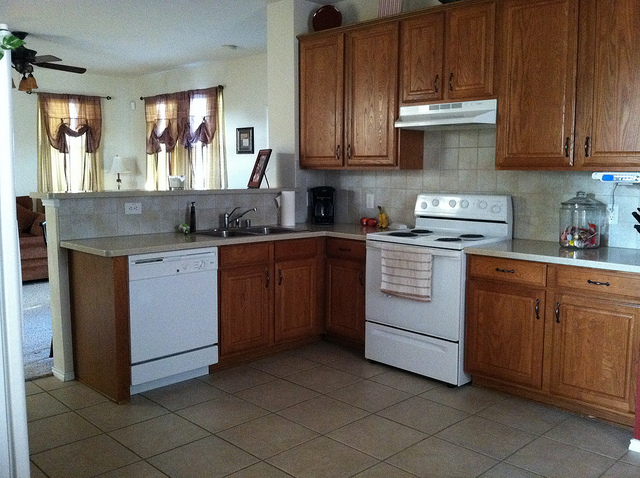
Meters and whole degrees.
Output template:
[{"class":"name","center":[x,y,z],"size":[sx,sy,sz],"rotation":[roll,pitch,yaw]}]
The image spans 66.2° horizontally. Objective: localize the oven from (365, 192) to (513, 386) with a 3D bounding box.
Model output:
[{"class":"oven","center":[0.897,0.335,3.937],"size":[0.914,1.365,0.748],"rotation":[8,12,40]}]

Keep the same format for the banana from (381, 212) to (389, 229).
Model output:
[{"class":"banana","center":[0.600,-0.164,4.522],"size":[0.048,0.140,0.055],"rotation":[2,14,26]}]

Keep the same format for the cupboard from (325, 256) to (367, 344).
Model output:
[{"class":"cupboard","center":[0.219,0.519,4.291],"size":[0.340,0.668,0.395],"rotation":[5,8,44]}]

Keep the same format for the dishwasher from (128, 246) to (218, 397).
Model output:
[{"class":"dishwasher","center":[-1.153,0.579,3.637],"size":[0.605,0.978,0.541],"rotation":[-5,12,-40]}]

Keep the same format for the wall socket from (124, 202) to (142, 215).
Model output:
[{"class":"wall socket","center":[-1.461,-0.235,3.813],"size":[0.092,0.064,0.013],"rotation":[-8,15,-40]}]

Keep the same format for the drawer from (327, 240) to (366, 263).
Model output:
[{"class":"drawer","center":[0.229,0.106,4.249],"size":[0.246,0.109,0.197],"rotation":[5,5,42]}]

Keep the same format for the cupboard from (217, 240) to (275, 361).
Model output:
[{"class":"cupboard","center":[-0.585,0.481,3.897],"size":[0.432,0.896,0.408],"rotation":[-6,12,-40]}]

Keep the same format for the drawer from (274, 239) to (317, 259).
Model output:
[{"class":"drawer","center":[-0.217,0.091,4.178],"size":[0.240,0.098,0.166],"rotation":[-6,11,-38]}]

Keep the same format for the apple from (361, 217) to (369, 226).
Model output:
[{"class":"apple","center":[0.425,-0.161,4.663],"size":[0.064,0.086,0.064],"rotation":[10,14,3]}]

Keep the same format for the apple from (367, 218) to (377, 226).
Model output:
[{"class":"apple","center":[0.492,-0.152,4.626],"size":[0.066,0.062,0.064],"rotation":[1,-5,-41]}]

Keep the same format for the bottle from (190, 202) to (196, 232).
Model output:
[{"class":"bottle","center":[-1.068,-0.183,4.119],"size":[0.050,0.240,0.126],"rotation":[-2,10,-13]}]
